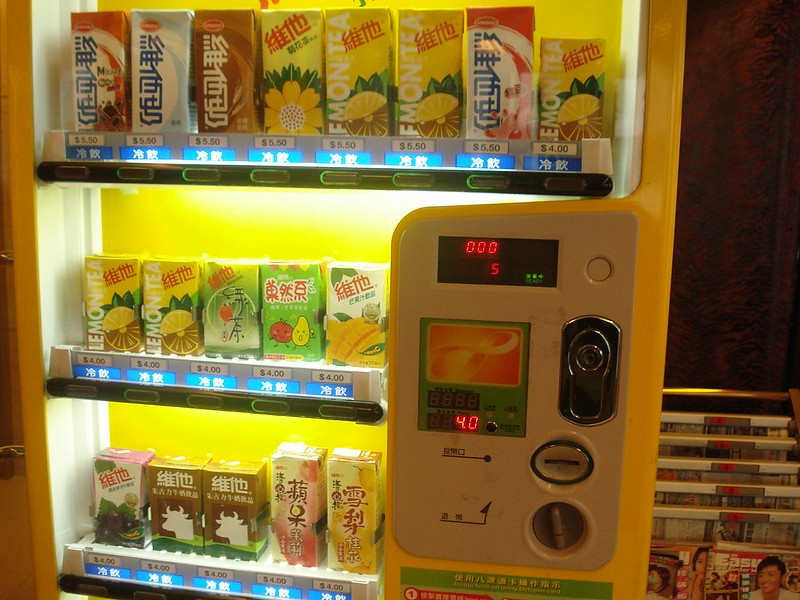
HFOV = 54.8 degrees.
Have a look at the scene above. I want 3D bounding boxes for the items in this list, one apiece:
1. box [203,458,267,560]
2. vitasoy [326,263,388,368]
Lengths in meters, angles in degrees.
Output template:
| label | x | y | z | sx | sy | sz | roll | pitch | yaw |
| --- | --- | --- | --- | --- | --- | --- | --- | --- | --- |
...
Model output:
| label | x | y | z | sx | sy | sz | roll | pitch | yaw |
| --- | --- | --- | --- | --- | --- | --- | --- | --- | --- |
| box | -0.586 | 0.756 | 2.781 | 0.209 | 0.299 | 0.185 | 0 | -2 | 15 |
| vitasoy | -0.162 | 0.101 | 2.677 | 0.209 | 0.364 | 0.203 | 3 | -26 | -8 |
